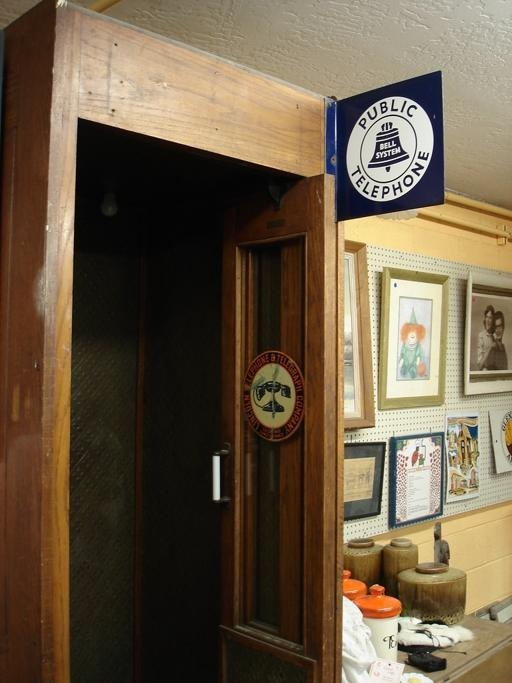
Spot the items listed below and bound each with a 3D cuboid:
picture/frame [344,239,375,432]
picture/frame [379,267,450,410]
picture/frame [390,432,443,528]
[{"bbox_3d":[0.489,-0.022,2.994,0.090,0.881,0.338,-1,-3,33],"label":"picture/frame"},{"bbox_3d":[0.833,-0.016,3.394,0.047,0.889,0.552,-1,-3,41],"label":"picture/frame"},{"bbox_3d":[0.850,0.737,3.404,0.040,0.570,0.413,-1,-2,39],"label":"picture/frame"}]
